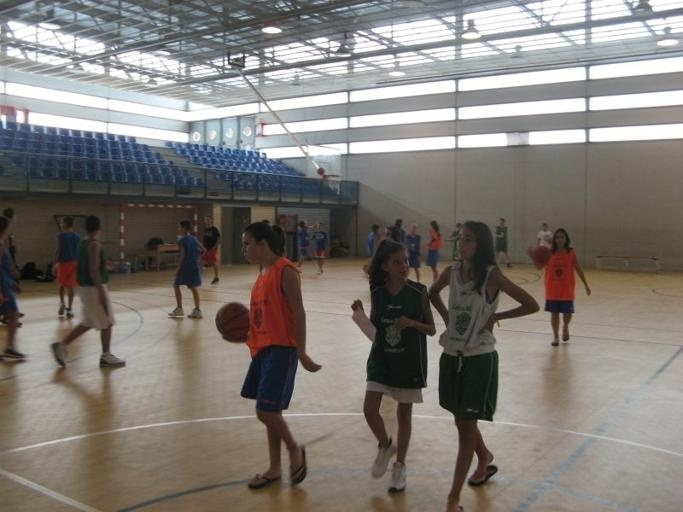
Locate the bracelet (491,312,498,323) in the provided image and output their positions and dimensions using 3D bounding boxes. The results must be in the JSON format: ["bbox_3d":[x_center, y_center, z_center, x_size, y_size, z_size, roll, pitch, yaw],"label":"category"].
[{"bbox_3d":[1.024,0.414,3.605,0.061,0.054,0.047,-5,9,-14],"label":"bracelet"}]

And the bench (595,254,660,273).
[{"bbox_3d":[9.953,0.242,18.807,1.992,0.465,1.178,3,6,30],"label":"bench"}]

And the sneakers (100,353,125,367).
[{"bbox_3d":[-2.758,1.249,6.554,0.300,0.145,0.132,0,2,-7],"label":"sneakers"}]

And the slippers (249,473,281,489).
[{"bbox_3d":[-0.535,1.559,3.782,0.164,0.039,0.082,1,5,-20],"label":"slippers"}]

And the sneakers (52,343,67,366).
[{"bbox_3d":[-3.360,1.163,6.467,0.160,0.293,0.239,-2,6,-15],"label":"sneakers"}]

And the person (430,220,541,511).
[{"bbox_3d":[0.840,0.668,3.648,0.680,1.793,0.529,-4,7,-29],"label":"person"}]

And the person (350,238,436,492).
[{"bbox_3d":[0.403,0.745,3.770,0.468,1.699,0.334,1,6,9],"label":"person"}]

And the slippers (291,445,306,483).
[{"bbox_3d":[-0.271,1.444,3.788,0.063,0.250,0.101,9,0,-25],"label":"slippers"}]

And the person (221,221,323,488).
[{"bbox_3d":[-0.450,0.677,3.772,0.472,1.813,0.684,-4,7,-29],"label":"person"}]

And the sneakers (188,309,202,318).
[{"bbox_3d":[-2.578,0.994,9.553,0.229,0.159,0.297,-2,6,-17],"label":"sneakers"}]

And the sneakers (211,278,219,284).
[{"bbox_3d":[-3.290,0.640,14.183,0.255,0.179,0.099,6,8,33],"label":"sneakers"}]

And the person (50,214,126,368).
[{"bbox_3d":[-2.978,0.424,6.467,0.737,1.785,0.431,0,6,4],"label":"person"}]

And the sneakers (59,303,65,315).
[{"bbox_3d":[-4.991,0.956,9.692,0.096,0.223,0.090,12,12,-29],"label":"sneakers"}]
